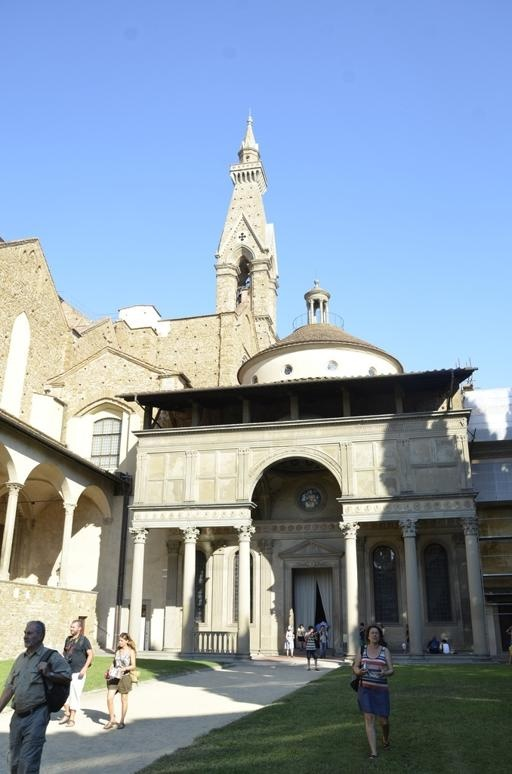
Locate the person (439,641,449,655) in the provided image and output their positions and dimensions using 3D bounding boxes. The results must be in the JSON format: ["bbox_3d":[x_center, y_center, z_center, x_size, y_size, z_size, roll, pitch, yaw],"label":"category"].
[{"bbox_3d":[7.421,10.208,23.244,0.374,0.395,0.958,-6,-21,15],"label":"person"}]

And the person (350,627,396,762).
[{"bbox_3d":[1.277,3.267,6.450,0.420,1.268,0.656,-6,-20,14],"label":"person"}]

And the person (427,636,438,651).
[{"bbox_3d":[7.110,10.287,23.666,0.473,0.537,0.855,-6,-20,14],"label":"person"}]

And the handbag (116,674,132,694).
[{"bbox_3d":[-1.979,4.417,8.808,0.205,0.290,0.230,3,-20,-9],"label":"handbag"}]

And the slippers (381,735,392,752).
[{"bbox_3d":[1.460,3.950,6.595,0.086,0.084,0.240,0,-12,5],"label":"slippers"}]

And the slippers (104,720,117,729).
[{"bbox_3d":[-2.152,4.949,8.693,0.101,0.076,0.183,-9,-30,11],"label":"slippers"}]

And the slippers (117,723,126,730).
[{"bbox_3d":[-1.991,4.941,8.648,0.069,0.070,0.112,5,-23,-2],"label":"slippers"}]

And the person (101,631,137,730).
[{"bbox_3d":[-2.235,4.702,9.677,0.439,1.304,2.137,4,-20,-12],"label":"person"}]
